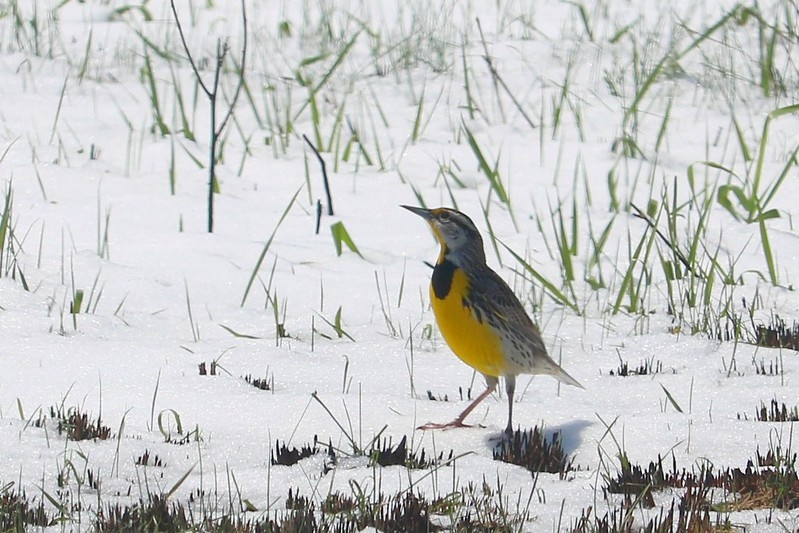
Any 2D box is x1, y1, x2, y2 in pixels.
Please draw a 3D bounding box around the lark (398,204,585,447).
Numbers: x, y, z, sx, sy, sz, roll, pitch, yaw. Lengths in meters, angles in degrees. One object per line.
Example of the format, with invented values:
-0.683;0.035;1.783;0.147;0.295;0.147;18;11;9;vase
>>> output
0.653;0.405;8.998;1.032;1.744;0.450;1;-4;-1;lark
